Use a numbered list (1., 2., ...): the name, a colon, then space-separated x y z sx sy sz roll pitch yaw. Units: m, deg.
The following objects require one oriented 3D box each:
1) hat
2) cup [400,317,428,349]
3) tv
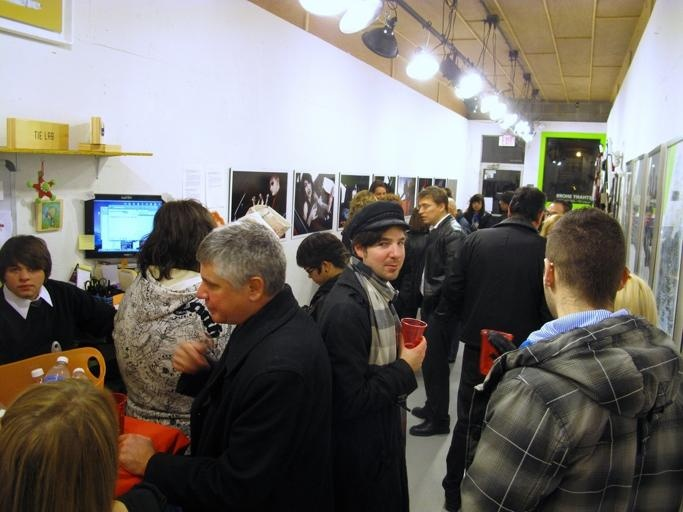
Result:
1. hat: 0.129 -0.108 2.204 0.189 0.084 0.245 -4 -16 -34
2. cup: 0.301 0.331 2.192 0.119 0.124 0.117 10 1 0
3. tv: -1.401 -0.186 3.137 0.037 0.305 0.419 7 8 44
